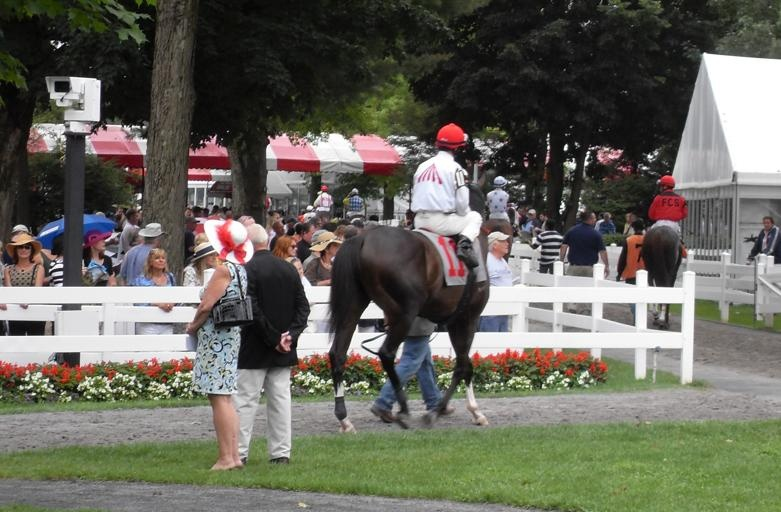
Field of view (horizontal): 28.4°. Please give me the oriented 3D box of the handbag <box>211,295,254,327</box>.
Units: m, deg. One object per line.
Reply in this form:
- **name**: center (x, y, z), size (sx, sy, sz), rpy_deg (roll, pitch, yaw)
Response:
- **handbag**: center (-2.823, 0.981, 27.625), size (0.623, 0.590, 0.472), rpy_deg (-5, -1, 1)

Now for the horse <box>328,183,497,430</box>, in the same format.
- **horse**: center (0.800, 0.914, 30.640), size (5.748, 5.110, 1.660), rpy_deg (5, -9, -45)

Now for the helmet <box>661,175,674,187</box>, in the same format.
- **helmet**: center (6.939, -1.892, 39.135), size (0.321, 0.246, 0.432), rpy_deg (-3, 22, -17)

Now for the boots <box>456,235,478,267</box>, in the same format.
- **boots**: center (1.551, -0.133, 29.946), size (0.217, 0.448, 0.662), rpy_deg (2, -10, 44)

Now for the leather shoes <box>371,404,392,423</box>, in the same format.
- **leather shoes**: center (-0.128, 3.003, 29.573), size (0.225, 0.228, 0.528), rpy_deg (-26, -42, 30)

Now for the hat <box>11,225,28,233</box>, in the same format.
- **hat**: center (-8.562, -0.643, 35.799), size (0.250, 0.142, 0.342), rpy_deg (-8, -10, 34)

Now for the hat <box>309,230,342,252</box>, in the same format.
- **hat**: center (-1.359, -0.421, 33.431), size (0.482, 0.205, 0.547), rpy_deg (-16, 3, 41)

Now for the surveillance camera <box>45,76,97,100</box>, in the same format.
- **surveillance camera**: center (-6.479, -3.391, 31.187), size (0.703, 0.375, 0.497), rpy_deg (-2, 4, -41)

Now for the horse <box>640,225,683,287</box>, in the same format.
- **horse**: center (6.654, -0.034, 38.060), size (0.943, 1.481, 0.661), rpy_deg (0, 0, 16)

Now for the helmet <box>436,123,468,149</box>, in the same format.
- **helmet**: center (1.256, -2.336, 30.306), size (0.446, 0.342, 0.570), rpy_deg (13, 20, 26)

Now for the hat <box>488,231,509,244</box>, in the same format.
- **hat**: center (2.337, -0.421, 33.538), size (0.424, 0.156, 0.275), rpy_deg (-9, 1, 12)
